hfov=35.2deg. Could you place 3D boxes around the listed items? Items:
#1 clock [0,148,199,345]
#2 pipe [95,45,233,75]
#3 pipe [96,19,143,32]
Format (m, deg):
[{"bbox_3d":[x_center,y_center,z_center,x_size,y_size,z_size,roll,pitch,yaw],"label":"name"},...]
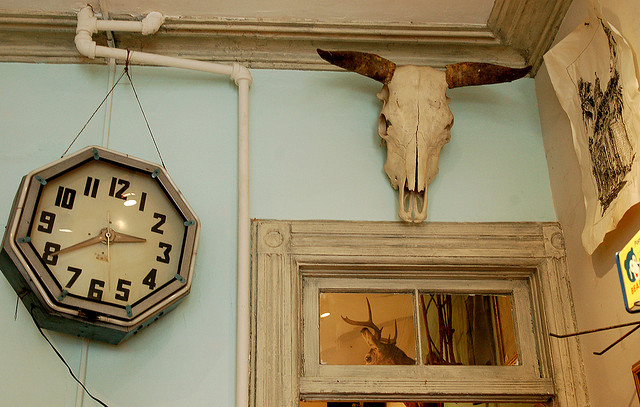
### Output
[{"bbox_3d":[-0.994,0.198,4.629,0.898,0.936,0.309,6,-19,-22],"label":"clock"},{"bbox_3d":[-0.773,-0.719,5.087,0.681,0.099,0.068,3,-32,-9],"label":"pipe"},{"bbox_3d":[-0.987,-0.895,5.046,0.196,0.052,0.197,1,10,-7],"label":"pipe"}]
